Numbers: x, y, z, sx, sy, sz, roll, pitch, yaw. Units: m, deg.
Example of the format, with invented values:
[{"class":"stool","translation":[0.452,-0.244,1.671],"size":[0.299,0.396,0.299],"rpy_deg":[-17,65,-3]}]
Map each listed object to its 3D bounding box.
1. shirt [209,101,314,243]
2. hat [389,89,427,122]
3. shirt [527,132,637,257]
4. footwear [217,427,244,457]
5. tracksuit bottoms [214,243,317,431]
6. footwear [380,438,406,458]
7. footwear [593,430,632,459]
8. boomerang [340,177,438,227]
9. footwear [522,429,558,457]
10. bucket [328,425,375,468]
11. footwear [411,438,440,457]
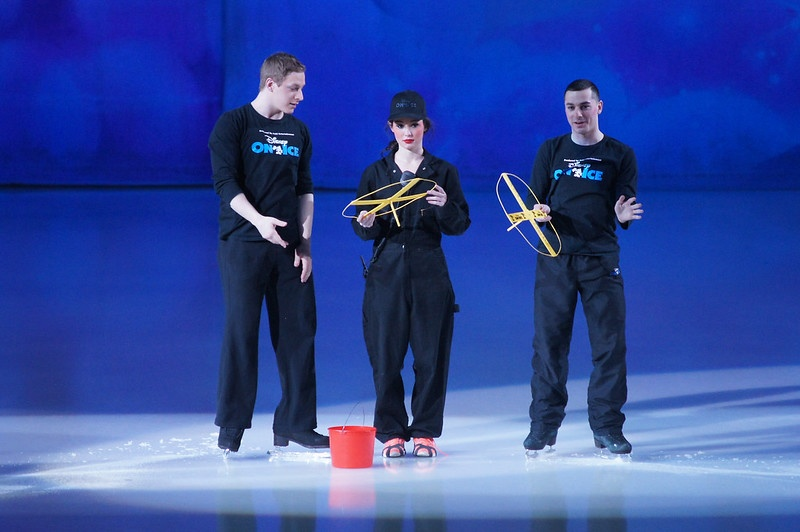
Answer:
[{"class":"shirt","translation":[-0.846,-0.524,4.973],"size":[0.535,0.838,0.475],"rpy_deg":[-6,21,-26]},{"class":"hat","translation":[0.034,-0.942,4.919],"size":[0.156,0.118,0.224],"rpy_deg":[2,13,6]},{"class":"shirt","translation":[1.077,-0.431,4.994],"size":[0.899,0.944,0.505],"rpy_deg":[1,-3,6]},{"class":"footwear","translation":[-0.978,1.025,4.800],"size":[0.123,0.152,0.088],"rpy_deg":[18,-30,-20]},{"class":"tracksuit bottoms","translation":[-0.757,0.376,4.843],"size":[0.539,1.139,0.426],"rpy_deg":[1,10,-7]},{"class":"footwear","translation":[-0.036,1.080,4.864],"size":[0.139,0.129,0.093],"rpy_deg":[4,-30,-4]},{"class":"footwear","translation":[1.236,1.037,4.823],"size":[0.099,0.128,0.267],"rpy_deg":[-11,6,-31]},{"class":"boomerang","translation":[-0.047,-0.403,4.950],"size":[0.460,0.158,0.319],"rpy_deg":[-19,-3,-1]},{"class":"footwear","translation":[0.807,1.046,4.870],"size":[0.261,0.118,0.090],"rpy_deg":[9,8,-44]},{"class":"bucket","translation":[-0.256,0.994,4.604],"size":[0.229,0.157,0.229],"rpy_deg":[-1,0,0]},{"class":"footwear","translation":[0.149,1.072,4.874],"size":[0.147,0.136,0.086],"rpy_deg":[2,-30,-1]}]
